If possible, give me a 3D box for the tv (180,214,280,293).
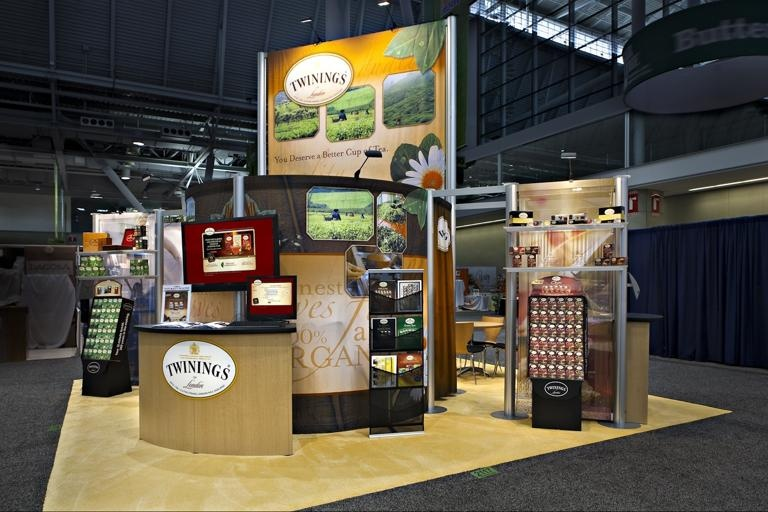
[{"bbox_3d":[-2.001,-0.066,7.287,1.480,0.867,0.115,-3,-1,24],"label":"tv"}]

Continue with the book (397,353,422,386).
[{"bbox_3d":[0.323,1.489,7.200,0.478,0.475,0.054,0,-8,-6],"label":"book"}]

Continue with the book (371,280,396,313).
[{"bbox_3d":[-0.010,0.548,7.253,0.522,0.428,0.110,-1,0,-2],"label":"book"}]

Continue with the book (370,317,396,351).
[{"bbox_3d":[-0.018,1.027,7.197,0.457,0.472,0.067,3,-10,-9],"label":"book"}]

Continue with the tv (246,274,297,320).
[{"bbox_3d":[-1.370,0.525,7.220,0.709,0.558,0.366,-2,-7,16],"label":"tv"}]
